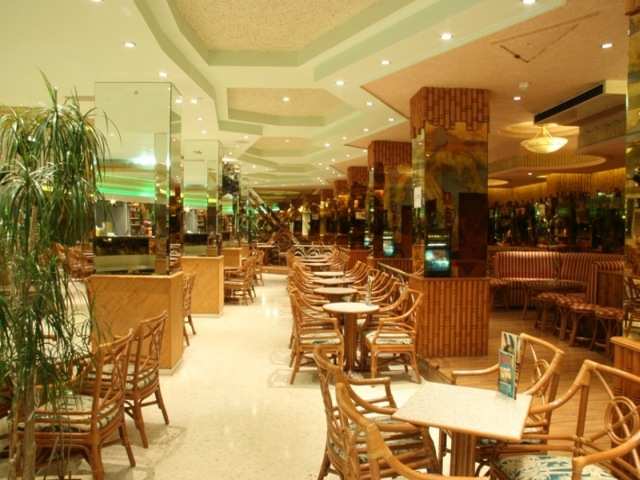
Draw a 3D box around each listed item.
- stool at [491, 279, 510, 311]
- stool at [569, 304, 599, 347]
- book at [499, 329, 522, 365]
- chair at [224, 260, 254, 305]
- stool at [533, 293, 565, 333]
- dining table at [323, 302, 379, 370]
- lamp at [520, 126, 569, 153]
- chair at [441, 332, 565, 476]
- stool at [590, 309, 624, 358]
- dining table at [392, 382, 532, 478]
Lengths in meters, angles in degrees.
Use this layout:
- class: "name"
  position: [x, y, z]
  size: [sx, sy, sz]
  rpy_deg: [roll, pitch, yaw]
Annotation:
- class: "stool"
  position: [3.901, 1.199, 11.060]
  size: [0.534, 0.738, 0.559]
  rpy_deg: [-2, 2, 8]
- class: "stool"
  position: [4.225, 1.368, 8.090]
  size: [0.518, 0.643, 0.540]
  rpy_deg: [1, 1, -10]
- class: "book"
  position: [1.390, 0.779, 3.704]
  size: [0.170, 0.215, 0.136]
  rpy_deg: [0, 4, 45]
- class: "chair"
  position: [-1.981, 1.035, 12.612]
  size: [0.873, 1.376, 0.950]
  rpy_deg: [2, 1, 4]
- class: "stool"
  position: [4.170, 1.326, 9.159]
  size: [0.579, 0.690, 0.569]
  rpy_deg: [6, 0, -43]
- class: "dining table"
  position: [0.376, 1.336, 6.879]
  size: [0.643, 0.761, 0.649]
  rpy_deg: [2, -12, -21]
- class: "lamp"
  position: [4.420, -1.961, 9.919]
  size: [0.725, 0.559, 1.252]
  rpy_deg: [-1, 2, 30]
- class: "chair"
  position: [1.528, 1.462, 4.340]
  size: [0.872, 1.121, 0.832]
  rpy_deg: [8, 16, 32]
- class: "stool"
  position: [4.262, 1.365, 7.645]
  size: [0.399, 0.491, 0.400]
  rpy_deg: [7, -1, 16]
- class: "dining table"
  position: [1.051, 1.169, 3.596]
  size: [0.699, 0.729, 0.727]
  rpy_deg: [8, 22, 27]
